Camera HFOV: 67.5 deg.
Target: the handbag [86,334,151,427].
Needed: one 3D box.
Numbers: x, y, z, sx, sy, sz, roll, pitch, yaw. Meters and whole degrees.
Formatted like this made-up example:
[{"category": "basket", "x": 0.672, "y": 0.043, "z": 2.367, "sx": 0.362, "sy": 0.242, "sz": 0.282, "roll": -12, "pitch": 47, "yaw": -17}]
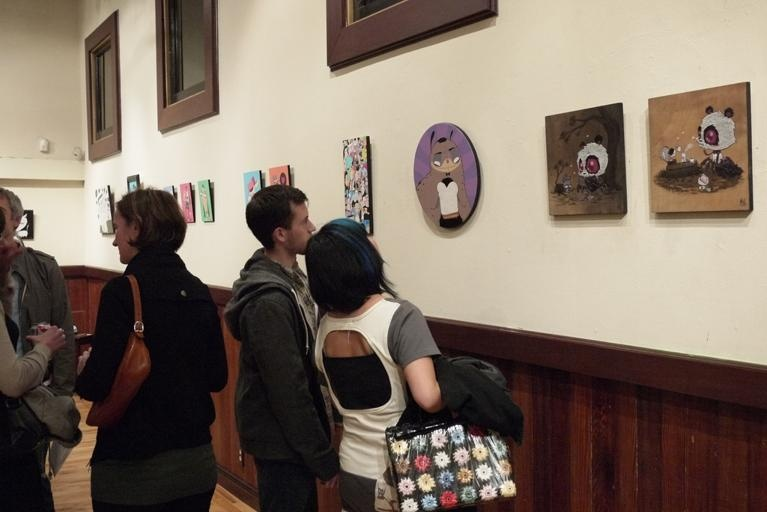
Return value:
[{"category": "handbag", "x": -1.220, "y": 0.569, "z": 2.629, "sx": 0.310, "sy": 0.442, "sz": 0.103, "roll": 1, "pitch": 3, "yaw": 10}]
